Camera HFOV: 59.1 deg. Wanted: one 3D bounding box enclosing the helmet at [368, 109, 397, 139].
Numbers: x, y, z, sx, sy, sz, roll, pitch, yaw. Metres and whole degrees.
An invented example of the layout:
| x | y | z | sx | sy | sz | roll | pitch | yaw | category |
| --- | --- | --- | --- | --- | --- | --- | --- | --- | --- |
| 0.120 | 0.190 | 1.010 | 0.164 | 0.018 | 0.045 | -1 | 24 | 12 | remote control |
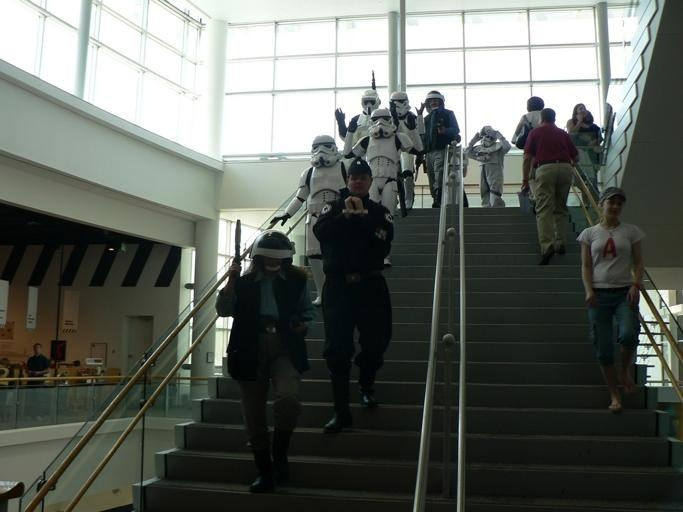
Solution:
| x | y | z | sx | sy | sz | roll | pitch | yaw | category |
| --- | --- | --- | --- | --- | --- | --- | --- | --- | --- |
| 0.531 | -1.638 | 7.626 | 0.326 | 0.382 | 0.365 | -2 | -4 | 6 | helmet |

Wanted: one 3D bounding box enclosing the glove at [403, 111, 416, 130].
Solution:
| x | y | z | sx | sy | sz | roll | pitch | yaw | category |
| --- | --- | --- | --- | --- | --- | --- | --- | --- | --- |
| 1.014 | -1.967 | 8.915 | 0.174 | 0.259 | 0.131 | 5 | -16 | 0 | glove |

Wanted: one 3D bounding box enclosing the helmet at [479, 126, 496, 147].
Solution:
| x | y | z | sx | sy | sz | roll | pitch | yaw | category |
| --- | --- | --- | --- | --- | --- | --- | --- | --- | --- |
| 2.423 | -1.956 | 9.934 | 0.265 | 0.394 | 0.228 | -2 | -4 | 14 | helmet |

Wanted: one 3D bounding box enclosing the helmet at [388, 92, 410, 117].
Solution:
| x | y | z | sx | sy | sz | roll | pitch | yaw | category |
| --- | --- | --- | --- | --- | --- | --- | --- | --- | --- |
| 0.905 | -2.230 | 9.094 | 0.291 | 0.390 | 0.393 | -1 | -6 | 9 | helmet |

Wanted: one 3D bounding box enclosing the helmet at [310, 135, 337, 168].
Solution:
| x | y | z | sx | sy | sz | roll | pitch | yaw | category |
| --- | --- | --- | --- | --- | --- | --- | --- | --- | --- |
| -0.179 | -1.166 | 6.939 | 0.309 | 0.337 | 0.340 | -3 | -5 | 9 | helmet |

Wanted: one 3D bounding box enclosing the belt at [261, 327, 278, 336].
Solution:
| x | y | z | sx | sy | sz | roll | pitch | yaw | category |
| --- | --- | --- | --- | --- | --- | --- | --- | --- | --- |
| -0.512 | 0.527 | 4.266 | 0.104 | 0.059 | 0.019 | -1 | -4 | -4 | belt |

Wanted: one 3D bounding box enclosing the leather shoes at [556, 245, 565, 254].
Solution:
| x | y | z | sx | sy | sz | roll | pitch | yaw | category |
| --- | --- | --- | --- | --- | --- | --- | --- | --- | --- |
| 2.508 | -0.062 | 6.888 | 0.084 | 0.159 | 0.111 | 3 | -8 | 14 | leather shoes |

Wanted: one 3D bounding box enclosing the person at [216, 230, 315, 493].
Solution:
| x | y | z | sx | sy | sz | roll | pitch | yaw | category |
| --- | --- | --- | --- | --- | --- | --- | --- | --- | --- |
| -0.547 | 0.731 | 4.298 | 0.677 | 1.830 | 0.348 | -1 | -4 | -5 | person |

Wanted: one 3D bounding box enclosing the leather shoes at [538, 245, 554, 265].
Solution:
| x | y | z | sx | sy | sz | roll | pitch | yaw | category |
| --- | --- | --- | --- | --- | --- | --- | --- | --- | --- |
| 2.372 | -0.001 | 6.852 | 0.239 | 0.197 | 0.166 | 1 | -5 | -40 | leather shoes |

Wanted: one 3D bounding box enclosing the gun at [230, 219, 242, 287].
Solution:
| x | y | z | sx | sy | sz | roll | pitch | yaw | category |
| --- | --- | --- | --- | --- | --- | --- | --- | --- | --- |
| -0.755 | -0.024 | 4.221 | 0.086 | 0.447 | 0.418 | -1 | -4 | -11 | gun |

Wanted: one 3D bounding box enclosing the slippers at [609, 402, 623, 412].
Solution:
| x | y | z | sx | sy | sz | roll | pitch | yaw | category |
| --- | --- | --- | --- | --- | --- | --- | --- | --- | --- |
| 2.143 | 1.180 | 4.712 | 0.042 | 0.078 | 0.124 | 0 | -30 | 6 | slippers |

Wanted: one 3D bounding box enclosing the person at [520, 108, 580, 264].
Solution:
| x | y | z | sx | sy | sz | roll | pitch | yaw | category |
| --- | --- | --- | --- | --- | --- | --- | --- | --- | --- |
| 2.411 | -0.793 | 6.930 | 0.606 | 1.784 | 0.460 | -3 | -4 | 18 | person |

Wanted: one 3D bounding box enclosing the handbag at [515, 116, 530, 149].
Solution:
| x | y | z | sx | sy | sz | roll | pitch | yaw | category |
| --- | --- | --- | --- | --- | --- | --- | --- | --- | --- |
| 2.622 | -1.774 | 8.715 | 0.138 | 0.397 | 0.308 | 13 | 8 | 25 | handbag |

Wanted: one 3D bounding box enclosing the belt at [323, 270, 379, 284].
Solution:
| x | y | z | sx | sy | sz | roll | pitch | yaw | category |
| --- | --- | --- | --- | --- | --- | --- | --- | --- | --- |
| 0.094 | 0.168 | 4.614 | 0.416 | 0.091 | 0.138 | -1 | -4 | -3 | belt |

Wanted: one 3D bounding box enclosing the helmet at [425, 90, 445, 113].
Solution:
| x | y | z | sx | sy | sz | roll | pitch | yaw | category |
| --- | --- | --- | --- | --- | --- | --- | --- | --- | --- |
| 1.525 | -2.475 | 9.891 | 0.300 | 0.356 | 0.399 | 1 | -4 | 8 | helmet |

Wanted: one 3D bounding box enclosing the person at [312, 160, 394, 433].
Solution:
| x | y | z | sx | sy | sz | roll | pitch | yaw | category |
| --- | --- | --- | --- | --- | --- | --- | --- | --- | --- |
| 0.094 | 0.305 | 4.634 | 0.542 | 2.092 | 0.449 | 2 | -5 | -37 | person |

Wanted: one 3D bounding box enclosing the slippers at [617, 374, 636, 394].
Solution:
| x | y | z | sx | sy | sz | roll | pitch | yaw | category |
| --- | --- | --- | --- | --- | --- | --- | --- | --- | --- |
| 2.312 | 1.045 | 4.899 | 0.054 | 0.171 | 0.162 | -4 | 6 | -3 | slippers |

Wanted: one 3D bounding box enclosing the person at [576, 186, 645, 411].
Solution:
| x | y | z | sx | sy | sz | roll | pitch | yaw | category |
| --- | --- | --- | --- | --- | --- | --- | --- | --- | --- |
| 2.202 | 0.327 | 4.874 | 0.474 | 1.778 | 0.310 | -3 | -5 | 25 | person |

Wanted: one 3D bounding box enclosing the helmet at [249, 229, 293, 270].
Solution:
| x | y | z | sx | sy | sz | roll | pitch | yaw | category |
| --- | --- | --- | --- | --- | --- | --- | --- | --- | --- |
| -0.527 | -0.049 | 4.484 | 0.293 | 0.322 | 0.358 | 4 | 8 | -38 | helmet |

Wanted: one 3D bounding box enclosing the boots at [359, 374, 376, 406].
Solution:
| x | y | z | sx | sy | sz | roll | pitch | yaw | category |
| --- | --- | --- | --- | --- | --- | --- | --- | --- | --- |
| 0.216 | 1.119 | 4.908 | 0.107 | 0.268 | 0.267 | 9 | -10 | -15 | boots |

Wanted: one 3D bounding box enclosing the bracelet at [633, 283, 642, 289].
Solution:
| x | y | z | sx | sy | sz | roll | pitch | yaw | category |
| --- | --- | --- | --- | --- | --- | --- | --- | --- | --- |
| 2.321 | 0.239 | 4.732 | 0.044 | 0.023 | 0.057 | 0 | -11 | 8 | bracelet |
